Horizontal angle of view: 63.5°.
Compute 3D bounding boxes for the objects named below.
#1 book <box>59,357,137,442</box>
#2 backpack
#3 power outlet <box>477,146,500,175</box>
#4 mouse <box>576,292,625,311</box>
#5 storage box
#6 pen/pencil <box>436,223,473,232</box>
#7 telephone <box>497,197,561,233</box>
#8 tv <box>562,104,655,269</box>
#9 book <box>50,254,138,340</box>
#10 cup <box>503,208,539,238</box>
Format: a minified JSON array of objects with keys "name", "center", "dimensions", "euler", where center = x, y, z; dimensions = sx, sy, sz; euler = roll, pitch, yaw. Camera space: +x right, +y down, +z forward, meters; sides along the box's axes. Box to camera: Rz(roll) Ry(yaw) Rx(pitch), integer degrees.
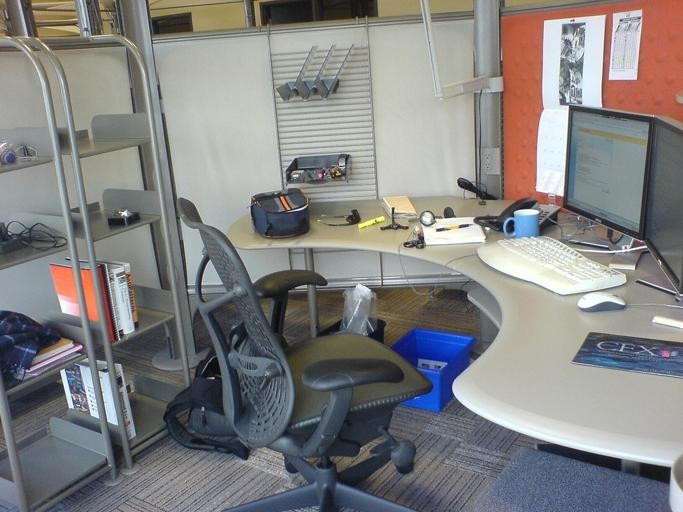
[{"name":"book","center":[-1.262,0.703,2.616],"dimensions":[0.130,0.370,0.363],"euler":[-26,65,-4]},{"name":"backpack","center":[-0.681,0.733,2.751],"dimensions":[0.300,0.163,0.418],"euler":[-27,2,44]},{"name":"power outlet","center":[0.886,-0.573,3.297],"dimensions":[0.158,0.188,0.031],"euler":[5,14,40]},{"name":"mouse","center":[0.876,0.157,1.856],"dimensions":[0.118,0.040,0.072],"euler":[-5,15,-6]},{"name":"storage box","center":[0.469,0.580,2.902],"dimensions":[0.352,0.258,0.436],"euler":[6,22,28]},{"name":"pen/pencil","center":[0.550,-0.137,2.655],"dimensions":[0.147,0.025,0.026],"euler":[-8,4,-14]},{"name":"telephone","center":[0.921,-0.210,2.656],"dimensions":[0.251,0.116,0.175],"euler":[-21,23,-26]},{"name":"tv","center":[1.079,-0.273,2.216],"dimensions":[0.228,0.644,0.531],"euler":[-8,20,-9]},{"name":"book","center":[-1.119,0.197,2.475],"dimensions":[0.361,0.368,0.220],"euler":[10,24,27]},{"name":"cup","center":[0.824,-0.161,2.530],"dimensions":[0.171,0.150,0.107],"euler":[-9,16,-1]}]
